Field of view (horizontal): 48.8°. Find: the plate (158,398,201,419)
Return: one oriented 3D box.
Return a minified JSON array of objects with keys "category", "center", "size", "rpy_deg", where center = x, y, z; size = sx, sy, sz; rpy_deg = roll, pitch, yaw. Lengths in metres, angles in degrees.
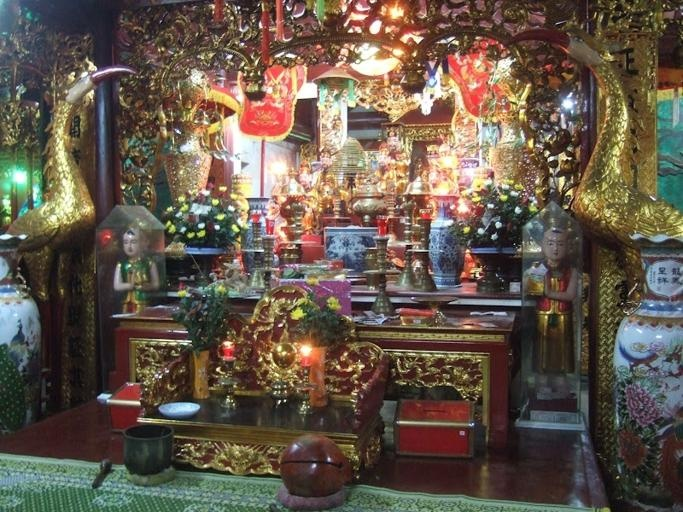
[{"category":"plate","center":[-0.792,0.761,3.743],"size":[0.185,0.065,0.215],"rpy_deg":[2,0,25]}]

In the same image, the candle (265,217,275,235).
[{"category":"candle","center":[-0.568,-0.229,5.895],"size":[0.102,0.150,0.104],"rpy_deg":[0,14,-8]}]

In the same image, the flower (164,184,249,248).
[{"category":"flower","center":[-0.921,-0.265,5.425],"size":[0.421,0.323,0.490],"rpy_deg":[2,0,37]}]

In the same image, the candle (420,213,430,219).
[{"category":"candle","center":[0.540,-0.255,4.868],"size":[0.059,0.025,0.053],"rpy_deg":[-1,4,-2]}]

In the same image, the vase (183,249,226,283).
[{"category":"vase","center":[-0.979,0.062,5.402],"size":[0.257,0.261,0.254],"rpy_deg":[0,-6,4]}]

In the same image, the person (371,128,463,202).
[{"category":"person","center":[0.653,-0.802,6.428],"size":[0.706,0.429,0.433],"rpy_deg":[3,-1,5]}]

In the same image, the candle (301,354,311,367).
[{"category":"candle","center":[-0.178,0.522,3.754],"size":[0.048,0.049,0.049],"rpy_deg":[0,-1,-1]}]

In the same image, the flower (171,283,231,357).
[{"category":"flower","center":[-0.704,0.316,3.875],"size":[0.286,0.460,0.315],"rpy_deg":[-3,-9,23]}]

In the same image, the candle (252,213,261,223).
[{"category":"candle","center":[-0.582,-0.255,5.131],"size":[0.062,0.063,0.070],"rpy_deg":[-3,8,-2]}]

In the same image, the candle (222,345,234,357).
[{"category":"candle","center":[-0.585,0.493,3.876],"size":[0.048,0.045,0.052],"rpy_deg":[-1,-10,9]}]

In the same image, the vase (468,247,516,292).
[{"category":"vase","center":[0.996,0.092,5.046],"size":[0.281,0.288,0.290],"rpy_deg":[0,-4,-2]}]

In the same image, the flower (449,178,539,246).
[{"category":"flower","center":[1.024,-0.277,5.075],"size":[0.550,0.456,0.326],"rpy_deg":[2,-1,17]}]

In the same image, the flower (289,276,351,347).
[{"category":"flower","center":[-0.104,0.287,3.807],"size":[0.326,0.237,0.274],"rpy_deg":[3,-1,1]}]

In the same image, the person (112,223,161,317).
[{"category":"person","center":[-1.308,0.188,4.795],"size":[0.291,0.739,0.247],"rpy_deg":[3,5,0]}]
